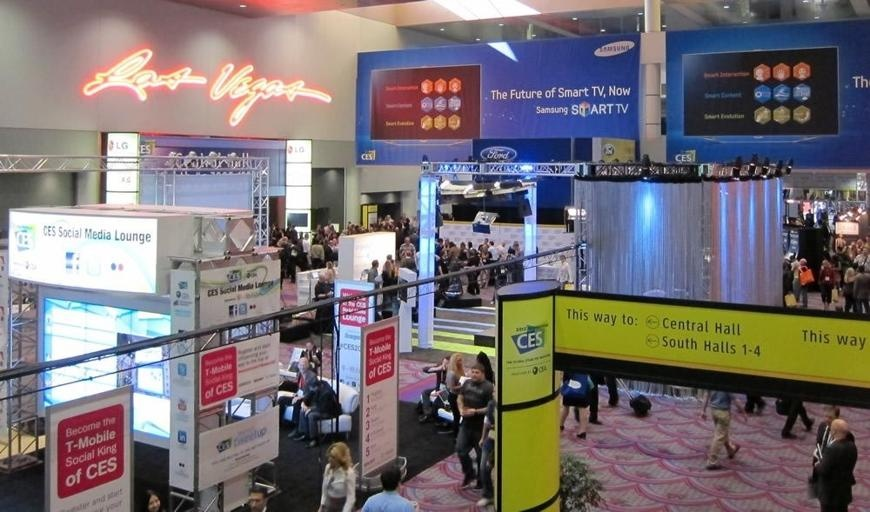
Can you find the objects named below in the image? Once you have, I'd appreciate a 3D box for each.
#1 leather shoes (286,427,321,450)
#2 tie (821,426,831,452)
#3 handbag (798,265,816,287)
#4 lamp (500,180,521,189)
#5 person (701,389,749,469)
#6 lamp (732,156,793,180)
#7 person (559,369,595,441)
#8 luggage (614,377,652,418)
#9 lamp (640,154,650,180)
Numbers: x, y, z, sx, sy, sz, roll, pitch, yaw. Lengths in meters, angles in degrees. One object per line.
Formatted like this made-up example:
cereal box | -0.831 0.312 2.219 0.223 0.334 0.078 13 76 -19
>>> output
leather shoes | -2.281 3.181 12.441 0.701 0.290 0.231 12 0 20
tie | 5.562 2.544 10.008 0.108 0.300 0.240 2 1 39
handbag | 10.093 0.521 19.216 0.594 0.606 0.228 -24 5 -42
lamp | 1.856 -1.707 17.082 0.510 0.177 0.212 -1 8 4
person | 4.854 2.673 11.974 0.580 1.255 1.704 1 8 20
lamp | 6.709 -1.812 14.591 0.738 0.461 2.743 4 9 35
person | 2.533 2.539 12.544 0.572 1.147 0.726 0 7 13
luggage | 3.684 2.627 13.422 0.292 0.534 0.904 -3 4 -29
lamp | 4.142 -1.743 13.866 0.194 0.456 0.333 1 8 16
